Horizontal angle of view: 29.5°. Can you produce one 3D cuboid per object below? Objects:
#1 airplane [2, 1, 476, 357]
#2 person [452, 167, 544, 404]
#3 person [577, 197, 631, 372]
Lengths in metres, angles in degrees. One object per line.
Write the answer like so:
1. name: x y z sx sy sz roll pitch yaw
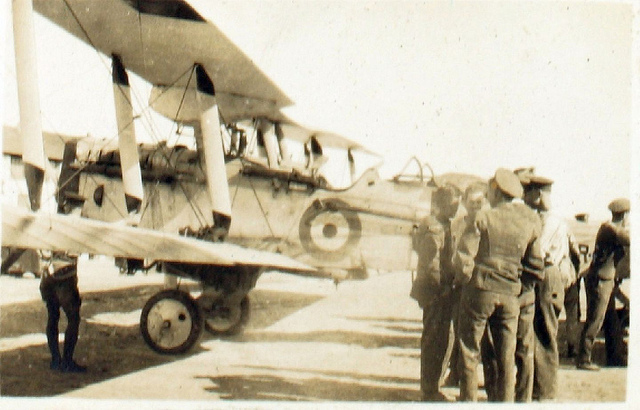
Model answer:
1. airplane: -1.313 -0.321 15.820 4.331 2.404 5.109 5 0 15
2. person: 2.123 1.000 14.868 0.993 2.658 0.366 5 -1 7
3. person: 3.735 1.031 15.880 0.640 2.055 0.175 5 -1 -3
